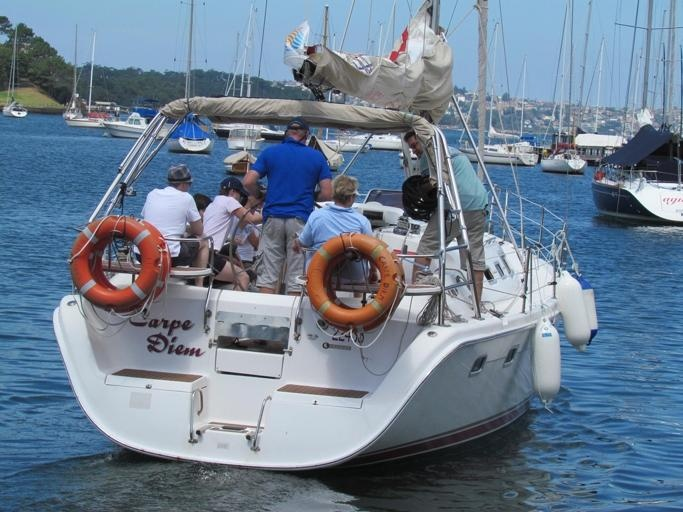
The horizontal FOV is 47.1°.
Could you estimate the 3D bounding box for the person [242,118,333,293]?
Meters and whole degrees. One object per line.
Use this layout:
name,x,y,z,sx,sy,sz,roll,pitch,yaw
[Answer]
person,-0.522,-0.337,7.109,0.716,1.771,0.601,4,-2,-3

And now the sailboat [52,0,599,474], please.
sailboat,0.355,-0.232,8.034,3.443,3.649,5.312,5,10,25

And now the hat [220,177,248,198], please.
hat,-1.077,-0.680,7.847,0.182,0.159,0.283,5,4,18

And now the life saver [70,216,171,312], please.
life saver,-1.806,0.055,6.257,0.781,0.778,0.241,-4,0,7

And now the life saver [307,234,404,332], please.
life saver,0.087,0.214,6.087,0.760,0.731,0.227,-9,0,12

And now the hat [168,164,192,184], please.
hat,-1.456,-0.724,6.991,0.170,0.105,0.197,-1,9,-7
